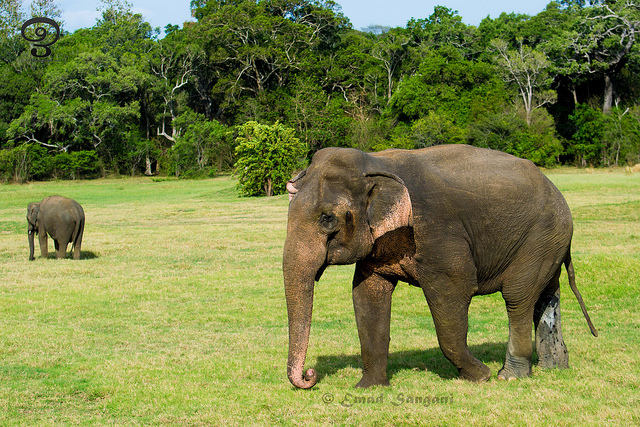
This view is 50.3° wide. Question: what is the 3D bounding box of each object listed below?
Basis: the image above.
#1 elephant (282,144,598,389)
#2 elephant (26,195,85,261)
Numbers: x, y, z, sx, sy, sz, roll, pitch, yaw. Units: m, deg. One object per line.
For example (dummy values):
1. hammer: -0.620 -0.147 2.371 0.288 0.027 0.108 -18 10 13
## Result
1. elephant: 1.775 0.815 13.264 5.673 3.677 3.192 1 -4 -17
2. elephant: -7.861 0.487 20.199 2.431 1.845 1.170 -1 -3 36
